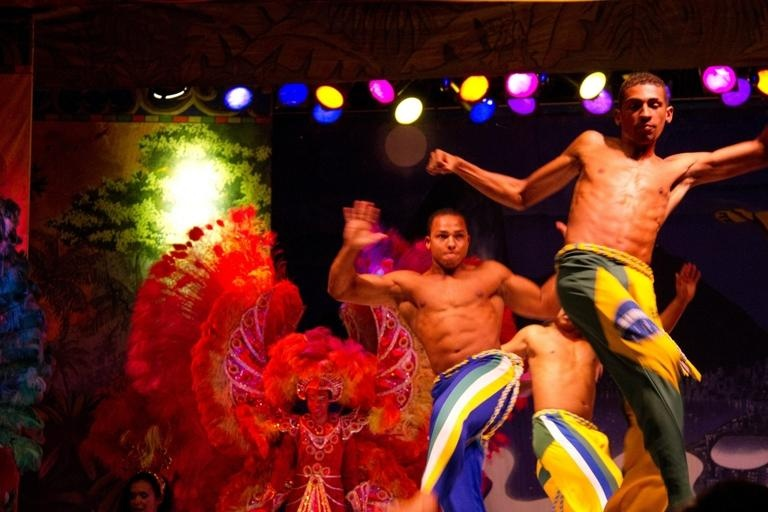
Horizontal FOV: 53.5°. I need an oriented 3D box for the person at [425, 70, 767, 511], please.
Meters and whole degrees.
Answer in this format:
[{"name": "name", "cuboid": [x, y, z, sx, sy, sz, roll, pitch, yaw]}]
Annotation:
[{"name": "person", "cuboid": [1.393, 0.133, 4.398, 1.572, 2.318, 0.922, 8, -28, -5]}]
